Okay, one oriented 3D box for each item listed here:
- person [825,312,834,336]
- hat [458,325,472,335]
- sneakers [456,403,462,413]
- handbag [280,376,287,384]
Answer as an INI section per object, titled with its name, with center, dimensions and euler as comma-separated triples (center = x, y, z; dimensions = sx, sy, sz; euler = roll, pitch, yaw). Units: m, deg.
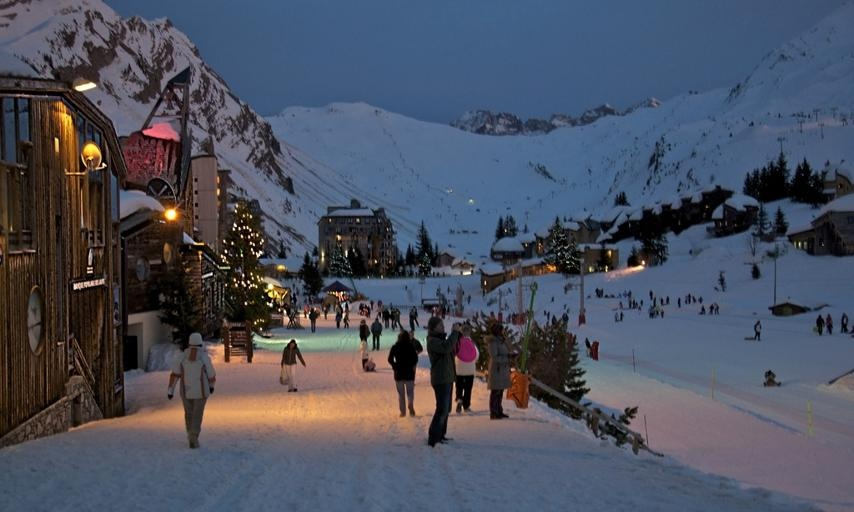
[person]
center = 32.636, 5.569, 62.389
dimensions = 0.490, 1.686, 2.202
euler = 5, 2, 29
[hat]
center = 1.631, 3.139, 32.385
dimensions = 0.421, 0.616, 0.575
euler = 1, 4, 6
[sneakers]
center = 1.365, 6.367, 32.120
dimensions = 0.178, 0.383, 0.141
euler = 0, -7, -4
[handbag]
center = -6.788, 5.953, 36.790
dimensions = 0.366, 0.403, 0.290
euler = 1, 5, -6
